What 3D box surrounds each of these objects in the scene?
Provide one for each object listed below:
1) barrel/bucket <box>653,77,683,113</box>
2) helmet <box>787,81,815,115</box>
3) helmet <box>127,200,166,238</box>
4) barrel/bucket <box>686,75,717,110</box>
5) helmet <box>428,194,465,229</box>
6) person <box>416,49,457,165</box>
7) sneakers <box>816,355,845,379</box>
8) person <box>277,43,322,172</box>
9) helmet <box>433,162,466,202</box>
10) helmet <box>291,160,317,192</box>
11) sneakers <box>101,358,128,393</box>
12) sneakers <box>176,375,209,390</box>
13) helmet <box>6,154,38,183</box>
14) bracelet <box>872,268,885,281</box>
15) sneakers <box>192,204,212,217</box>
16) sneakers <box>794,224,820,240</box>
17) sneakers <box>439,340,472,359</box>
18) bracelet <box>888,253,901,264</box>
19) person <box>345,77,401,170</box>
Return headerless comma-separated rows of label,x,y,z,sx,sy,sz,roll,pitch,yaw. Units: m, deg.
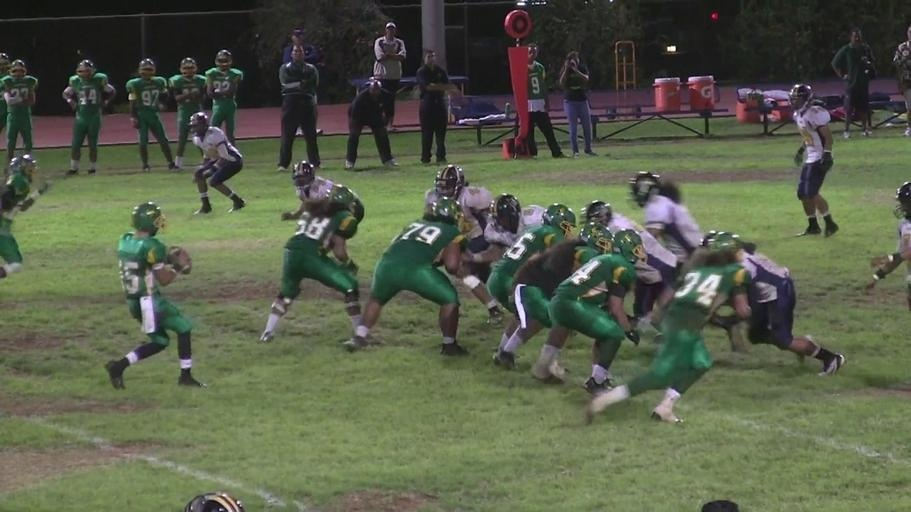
barrel/bucket,5.995,-4.618,34.468,1.133,0.895,0.703,-3,8,-17
helmet,6.273,-2.923,21.924,0.561,0.503,0.432,-10,14,-18
helmet,-4.610,-0.553,18.034,0.550,0.465,0.406,-14,24,-36
barrel/bucket,7.104,-4.694,34.836,1.163,0.939,0.679,-8,8,-28
helmet,-0.097,-0.712,18.690,0.439,0.459,0.593,19,17,34
person,-0.476,-3.559,28.594,0.776,2.685,1.100,-3,8,-2
sneakers,5.574,1.586,17.792,0.239,0.485,0.169,18,41,-33
person,-3.594,-3.410,27.571,0.955,2.861,0.992,-4,8,-13
helmet,-0.138,-1.207,19.422,0.504,0.501,0.578,2,17,29
helmet,-2.495,-1.343,20.147,0.425,0.490,0.510,1,-25,1
sneakers,-5.004,1.710,17.898,0.315,0.448,0.277,-5,8,-18
sneakers,-3.909,1.863,17.896,0.514,0.253,0.165,2,7,-8
helmet,-7.467,-1.548,20.753,0.406,0.434,0.495,19,31,25
bracelet,6.640,0.279,18.985,0.240,0.099,0.179,-20,-17,27
sneakers,-5.061,-0.921,24.262,0.451,0.161,0.143,5,15,3
sneakers,6.313,-0.483,21.765,0.552,0.200,0.179,-1,11,10
sneakers,-0.018,1.415,18.440,0.555,0.273,0.171,-2,13,-3
bracelet,6.823,0.016,18.755,0.170,0.147,0.064,0,8,16
person,-1.996,-3.148,28.402,1.150,2.079,1.521,-3,8,-2
